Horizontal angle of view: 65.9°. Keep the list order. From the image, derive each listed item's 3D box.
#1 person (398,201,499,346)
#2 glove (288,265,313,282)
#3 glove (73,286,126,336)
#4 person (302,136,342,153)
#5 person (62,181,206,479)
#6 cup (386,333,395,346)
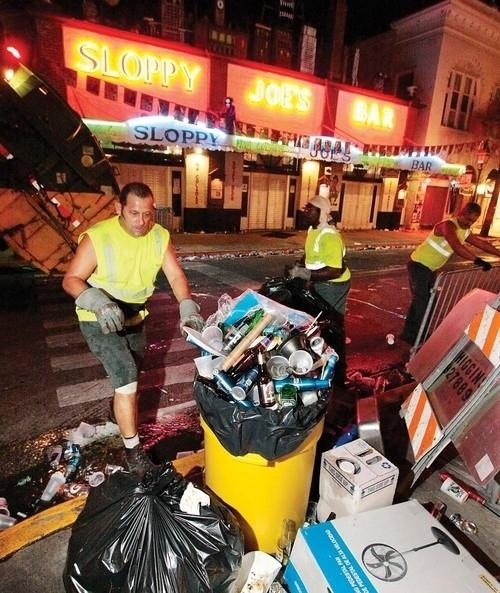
[{"bbox_3d":[2.631,-0.239,5.308,1.036,2.061,0.675,-6,24,-21],"label":"person"},{"bbox_3d":[0.495,-0.228,3.842,0.224,0.140,0.109,20,27,41],"label":"glove"},{"bbox_3d":[-0.911,0.101,2.413,0.363,0.159,0.225,29,60,24],"label":"glove"},{"bbox_3d":[2.950,-6.154,15.522,1.175,0.294,1.040,-11,27,-23],"label":"person"},{"bbox_3d":[-0.805,0.292,2.711,0.871,2.092,0.993,1,22,-3],"label":"person"},{"bbox_3d":[2.098,0.656,5.748,0.123,0.045,0.177,3,44,18],"label":"cup"}]
